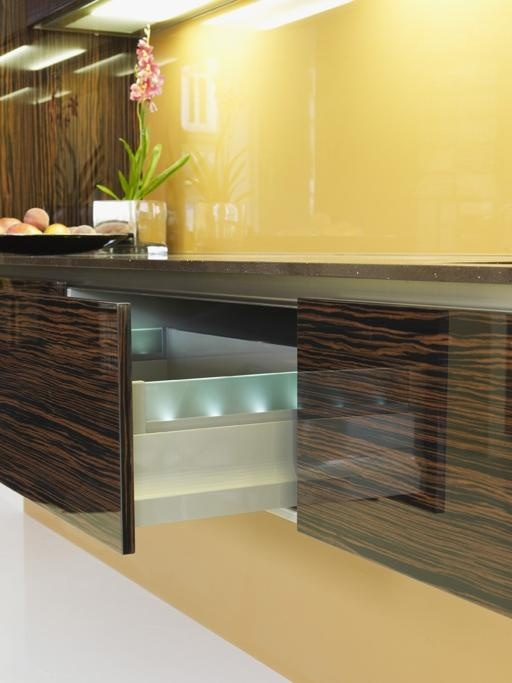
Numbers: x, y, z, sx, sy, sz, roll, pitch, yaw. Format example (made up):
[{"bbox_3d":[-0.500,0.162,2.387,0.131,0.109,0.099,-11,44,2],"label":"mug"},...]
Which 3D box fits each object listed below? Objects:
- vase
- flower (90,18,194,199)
[{"bbox_3d":[-0.334,-0.308,1.411,0.191,0.112,0.188,0,15,-21],"label":"vase"},{"bbox_3d":[-0.328,-0.668,1.566,0.268,0.597,0.499,-1,6,-16],"label":"flower"}]
